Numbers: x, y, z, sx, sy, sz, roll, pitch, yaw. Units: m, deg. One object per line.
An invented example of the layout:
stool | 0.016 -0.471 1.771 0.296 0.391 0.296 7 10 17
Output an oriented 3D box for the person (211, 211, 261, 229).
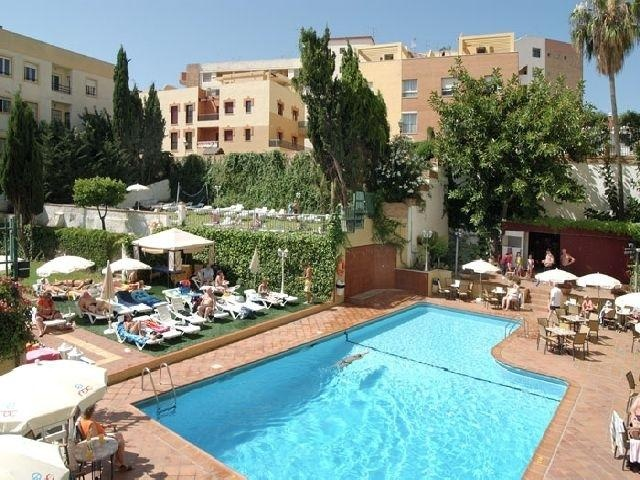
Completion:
person | -4.450 -1.016 32.542 3.659 0.977 0.272 -1 0 39

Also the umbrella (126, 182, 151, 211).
umbrella | -13.239 -3.100 43.979 1.763 2.626 1.885 -1 2 -17

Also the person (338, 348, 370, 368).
person | 1.358 4.848 24.507 1.349 0.250 0.454 -20 32 -25

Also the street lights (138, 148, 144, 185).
street lights | -14.250 -5.865 48.962 0.338 2.670 0.812 0 0 15

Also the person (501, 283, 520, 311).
person | 9.580 2.837 30.602 0.982 1.283 0.519 0 0 -5

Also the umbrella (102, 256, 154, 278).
umbrella | -8.898 1.207 28.163 1.244 0.576 1.254 -5 9 -37

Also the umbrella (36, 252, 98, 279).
umbrella | -11.387 1.198 27.837 1.866 0.832 2.036 -5 -2 -3

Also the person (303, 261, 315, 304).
person | -0.546 2.140 29.919 0.405 1.959 1.094 0 0 -2

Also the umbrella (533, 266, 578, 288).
umbrella | 11.125 1.770 29.238 1.500 0.779 1.548 -3 -2 -27

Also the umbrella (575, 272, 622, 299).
umbrella | 12.765 1.896 28.447 1.560 1.316 1.668 -2 6 -13

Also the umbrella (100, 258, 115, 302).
umbrella | -9.361 1.837 26.946 0.509 1.759 2.647 0 0 -20
